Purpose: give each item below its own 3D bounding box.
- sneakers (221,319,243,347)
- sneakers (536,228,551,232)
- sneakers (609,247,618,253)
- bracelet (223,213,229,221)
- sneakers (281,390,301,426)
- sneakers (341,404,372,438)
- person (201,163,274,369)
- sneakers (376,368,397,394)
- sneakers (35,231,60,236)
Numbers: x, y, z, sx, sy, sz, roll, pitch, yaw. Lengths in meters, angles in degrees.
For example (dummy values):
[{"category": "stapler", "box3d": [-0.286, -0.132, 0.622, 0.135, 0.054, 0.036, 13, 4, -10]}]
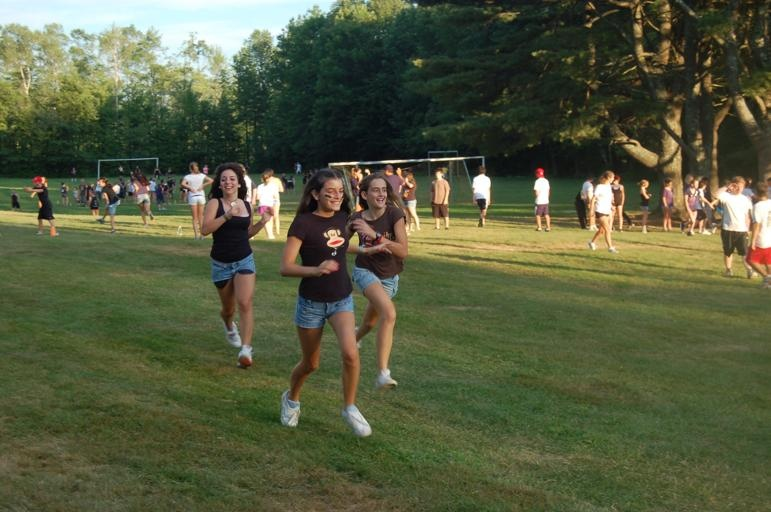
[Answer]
[{"category": "sneakers", "box3d": [-2.378, 1.171, 11.373, 0.257, 0.203, 0.494, -15, 28, -29]}, {"category": "sneakers", "box3d": [5.614, -0.940, 26.099, 0.198, 0.200, 0.521, 2, 0, -32]}, {"category": "sneakers", "box3d": [6.533, -0.180, 20.901, 0.364, 0.141, 0.131, -6, 10, -44]}, {"category": "bracelet", "box3d": [-2.306, -0.574, 10.684, 0.085, 0.085, 0.084, 27, 31, -27]}, {"category": "sneakers", "box3d": [-1.218, 1.891, 9.231, 0.184, 0.459, 0.205, -3, -5, -41]}, {"category": "sneakers", "box3d": [-0.342, 2.065, 9.203, 0.253, 0.481, 0.192, -42, -6, -14]}, {"category": "person", "box3d": [-2.274, 0.059, 10.824, 0.815, 2.898, 1.450, 1, 3, -15]}, {"category": "sneakers", "box3d": [0.011, 1.631, 9.600, 0.234, 0.248, 0.334, 1, 4, -3]}, {"category": "sneakers", "box3d": [-9.998, -0.682, 21.662, 0.544, 0.203, 0.166, 2, 5, 23]}]
